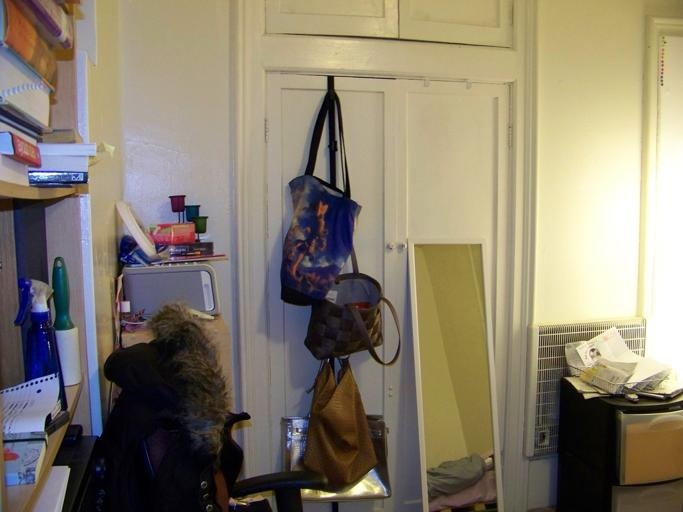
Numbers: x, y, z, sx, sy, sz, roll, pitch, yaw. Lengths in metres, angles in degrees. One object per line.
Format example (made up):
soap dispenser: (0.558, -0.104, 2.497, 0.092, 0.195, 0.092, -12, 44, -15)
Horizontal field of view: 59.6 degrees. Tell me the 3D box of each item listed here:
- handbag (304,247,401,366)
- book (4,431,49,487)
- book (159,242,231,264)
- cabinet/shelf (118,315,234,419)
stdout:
handbag: (0.082, 0.270, 2.792, 0.470, 0.528, 0.250, -2, 0, -27)
book: (-0.892, 0.586, 1.688, 0.101, 0.117, 0.026, 4, -28, -25)
book: (-0.642, -0.014, 2.538, 0.269, 0.083, 0.135, -2, 0, -19)
cabinet/shelf: (-0.640, 0.378, 2.242, 0.449, 0.317, 0.599, -2, 0, -13)
